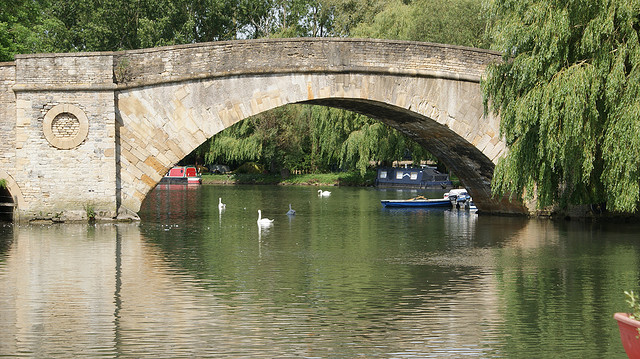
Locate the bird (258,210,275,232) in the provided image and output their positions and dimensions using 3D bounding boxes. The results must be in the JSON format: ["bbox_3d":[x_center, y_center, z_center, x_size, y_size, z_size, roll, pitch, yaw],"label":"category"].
[{"bbox_3d":[-2.392,1.916,44.205,1.108,1.099,0.435,4,-6,-15],"label":"bird"}]

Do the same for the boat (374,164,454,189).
[{"bbox_3d":[6.617,0.029,71.044,6.616,1.869,1.651,8,14,41],"label":"boat"}]

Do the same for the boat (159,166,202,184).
[{"bbox_3d":[-11.149,-0.333,80.562,2.941,1.542,2.821,-2,10,-11],"label":"boat"}]
